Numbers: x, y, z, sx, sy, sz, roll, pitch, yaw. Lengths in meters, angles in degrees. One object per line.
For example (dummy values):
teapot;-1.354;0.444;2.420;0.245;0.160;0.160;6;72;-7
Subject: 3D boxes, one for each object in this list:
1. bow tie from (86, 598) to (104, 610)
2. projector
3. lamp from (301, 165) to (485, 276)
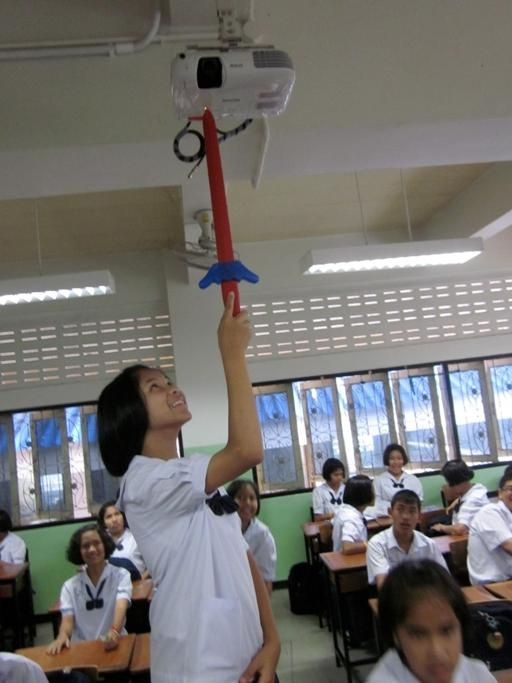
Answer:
bow tie;-0.875;1.425;3.072;0.058;0.041;0.006;-5;-9;-11
projector;-0.049;-0.503;1.111;0.233;0.134;0.092;-2;26;-7
lamp;1.295;-1.127;5.154;1.729;0.839;0.916;0;-22;-11
